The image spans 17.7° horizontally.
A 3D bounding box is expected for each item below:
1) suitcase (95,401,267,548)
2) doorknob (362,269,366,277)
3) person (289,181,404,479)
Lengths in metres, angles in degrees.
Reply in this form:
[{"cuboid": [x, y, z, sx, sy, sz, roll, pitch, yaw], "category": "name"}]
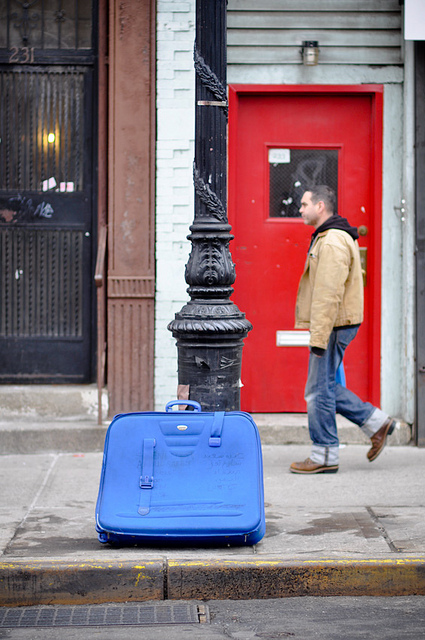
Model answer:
[{"cuboid": [-0.157, 0.823, 7.071, 0.532, 0.627, 0.238, 0, -28, 1], "category": "suitcase"}, {"cuboid": [1.067, -0.340, 9.699, 0.019, 0.054, 0.062, 4, 7, 21], "category": "doorknob"}, {"cuboid": [0.778, 0.067, 8.590, 0.577, 1.810, 0.487, 0, 6, -19], "category": "person"}]
